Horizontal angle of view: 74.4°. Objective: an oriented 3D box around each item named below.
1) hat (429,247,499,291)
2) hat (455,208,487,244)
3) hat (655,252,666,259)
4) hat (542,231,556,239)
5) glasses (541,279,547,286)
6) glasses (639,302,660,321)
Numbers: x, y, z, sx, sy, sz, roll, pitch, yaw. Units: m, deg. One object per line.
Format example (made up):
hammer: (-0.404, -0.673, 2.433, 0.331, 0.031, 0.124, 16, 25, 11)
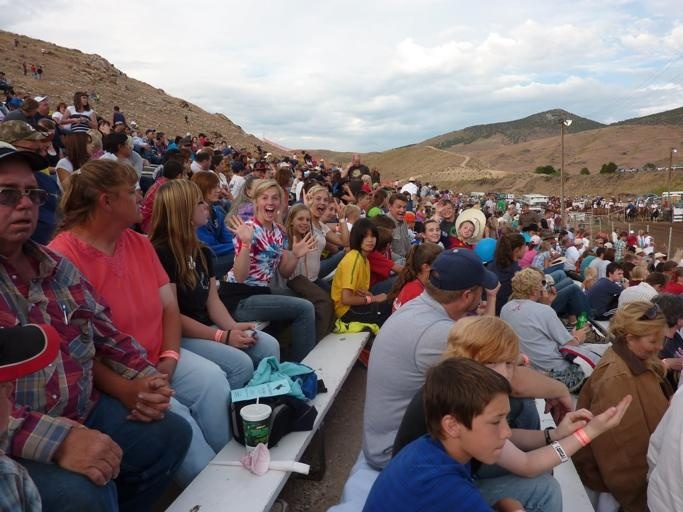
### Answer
hat: (0.844, 0.115, 3.125, 0.394, 0.233, 0.269, -10, 19, -12)
hat: (2.457, -0.622, 8.570, 0.201, 0.739, 0.729, 18, -33, -31)
hat: (12.265, -0.048, 17.407, 0.475, 0.226, 0.687, -3, 1, 42)
hat: (4.593, -0.500, 10.076, 0.247, 0.241, 0.243, -6, 16, -25)
glasses: (2.324, 0.300, 5.205, 0.061, 0.055, 0.048, -32, 59, -3)
glasses: (2.404, 0.438, 3.510, 0.168, 0.039, 0.096, -31, 66, -21)
